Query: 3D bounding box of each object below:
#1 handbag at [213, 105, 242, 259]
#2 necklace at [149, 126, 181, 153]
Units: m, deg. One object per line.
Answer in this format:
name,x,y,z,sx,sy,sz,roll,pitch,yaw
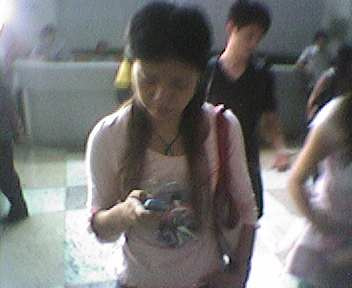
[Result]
handbag,0.162,0.128,1.134,0.106,0.484,0.087,4,26,7
necklace,-0.029,-0.015,1.076,0.093,0.074,0.030,-5,27,-11
